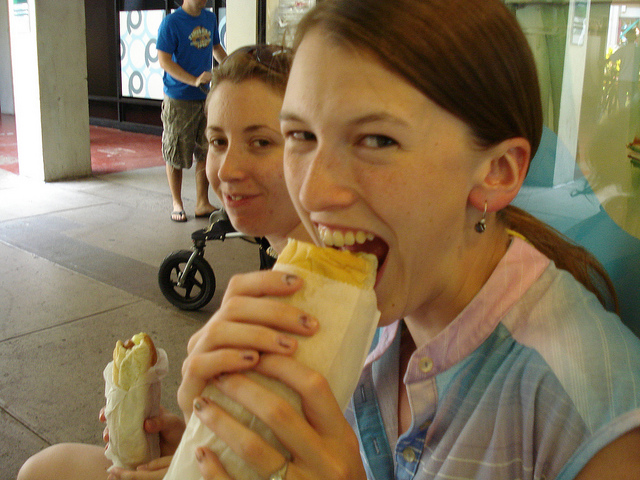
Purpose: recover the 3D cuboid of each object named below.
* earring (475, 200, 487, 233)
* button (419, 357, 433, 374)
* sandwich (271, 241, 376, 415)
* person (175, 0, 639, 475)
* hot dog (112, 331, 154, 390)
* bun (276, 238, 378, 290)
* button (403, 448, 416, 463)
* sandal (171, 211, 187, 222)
[{"bbox_3d":[0.506,-0.081,1.729,0.029,0.094,0.039,-2,46,-6],"label":"earring"},{"bbox_3d":[0.352,0.412,1.814,0.043,0.047,0.009,-4,-8,34],"label":"button"},{"bbox_3d":[0.020,0.247,1.672,0.340,0.470,0.148,4,-4,-23],"label":"sandwich"},{"bbox_3d":[0.322,0.078,1.729,1.313,1.602,0.747,5,14,2],"label":"person"},{"bbox_3d":[-0.749,0.477,2.262,0.160,0.228,0.091,7,-1,29],"label":"hot dog"},{"bbox_3d":[0.009,0.026,1.737,0.272,0.162,0.264,-3,14,-21],"label":"bun"},{"bbox_3d":[0.299,0.718,1.836,0.010,0.044,0.042,3,46,-34],"label":"button"},{"bbox_3d":[-1.897,-0.333,7.392,0.203,0.126,0.221,0,16,-18],"label":"sandal"}]
